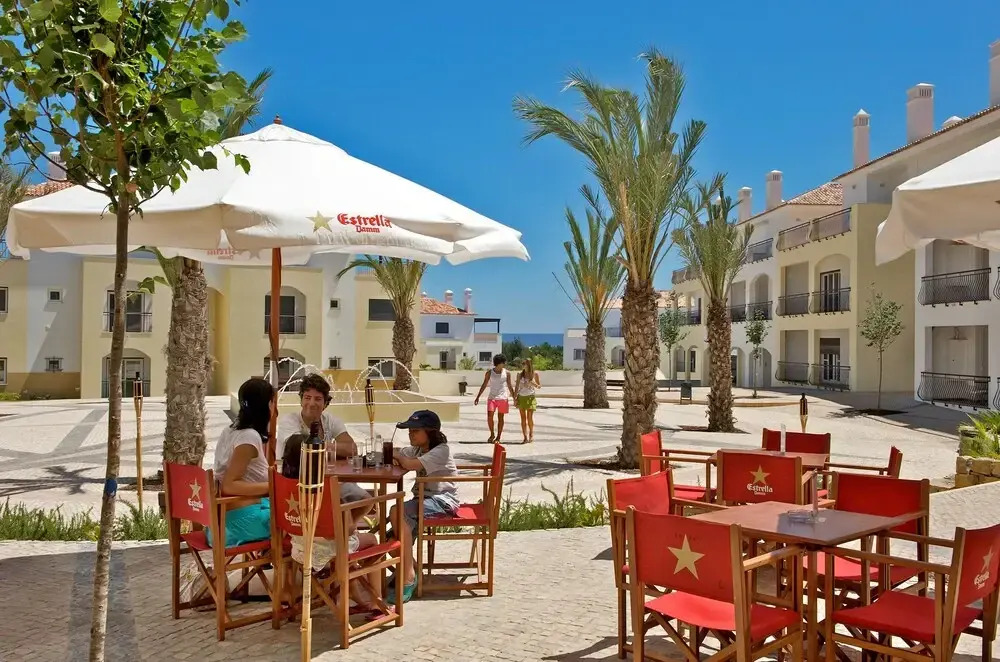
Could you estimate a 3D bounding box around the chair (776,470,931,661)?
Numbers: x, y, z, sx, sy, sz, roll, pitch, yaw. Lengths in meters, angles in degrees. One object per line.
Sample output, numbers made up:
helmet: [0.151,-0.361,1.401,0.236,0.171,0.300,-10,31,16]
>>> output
chair: [3.535,2.024,7.841,1.225,1.722,1.301,2,-4,-39]

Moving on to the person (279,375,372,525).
person: [-1.910,1.214,8.872,0.874,1.432,0.976,-2,-1,34]

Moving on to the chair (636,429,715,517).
chair: [2.158,1.820,10.411,0.882,1.208,0.874,0,-1,24]

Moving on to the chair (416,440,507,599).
chair: [-0.519,1.911,9.007,1.018,1.214,0.860,5,-7,-5]

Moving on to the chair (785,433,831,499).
chair: [3.679,1.665,10.697,0.737,0.742,0.548,1,14,22]

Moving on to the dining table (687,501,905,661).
dining table: [2.628,1.935,7.626,1.481,1.378,1.453,-4,4,-38]

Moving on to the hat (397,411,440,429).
hat: [-0.823,0.944,8.915,0.355,0.151,0.240,1,-6,-10]

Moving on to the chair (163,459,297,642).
chair: [-2.582,2.006,8.155,1.157,1.388,1.171,3,-4,-21]

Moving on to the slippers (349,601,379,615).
slippers: [-1.288,2.601,8.072,0.323,0.100,0.131,0,-3,4]

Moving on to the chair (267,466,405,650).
chair: [-1.541,2.086,8.027,1.258,1.453,1.193,3,-4,-36]
